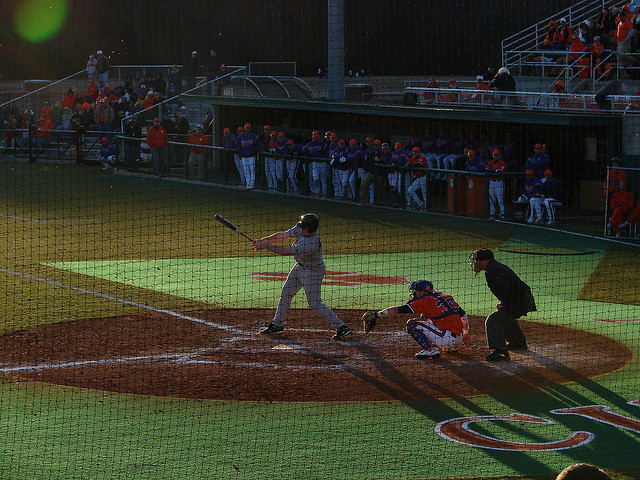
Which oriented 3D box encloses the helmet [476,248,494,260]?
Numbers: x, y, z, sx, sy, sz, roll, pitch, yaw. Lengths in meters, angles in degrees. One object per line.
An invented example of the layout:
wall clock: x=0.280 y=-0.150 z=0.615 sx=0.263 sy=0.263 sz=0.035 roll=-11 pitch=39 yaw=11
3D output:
helmet: x=2.778 y=0.245 z=20.136 sx=0.223 sy=0.187 sz=0.173 roll=-9 pitch=18 yaw=8

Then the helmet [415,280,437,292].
helmet: x=1.809 y=0.781 z=20.402 sx=0.258 sy=0.247 sz=0.185 roll=21 pitch=-11 yaw=-8

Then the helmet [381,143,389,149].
helmet: x=1.715 y=-2.457 z=31.499 sx=0.264 sy=0.144 sz=0.349 roll=1 pitch=-1 yaw=-5

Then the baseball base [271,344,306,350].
baseball base: x=-0.561 y=1.871 z=20.890 sx=0.525 sy=0.062 sz=0.223 roll=1 pitch=4 yaw=-1

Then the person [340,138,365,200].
person: x=0.965 y=-1.870 z=32.175 sx=0.655 sy=1.603 sz=0.685 roll=2 pitch=4 yaw=18

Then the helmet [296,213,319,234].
helmet: x=-0.172 y=-0.293 z=20.707 sx=0.373 sy=0.281 sz=0.257 roll=16 pitch=25 yaw=-1

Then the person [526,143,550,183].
person: x=5.411 y=-1.900 z=29.674 sx=0.509 sy=0.953 sz=0.720 roll=2 pitch=4 yaw=9

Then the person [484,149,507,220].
person: x=4.387 y=-1.369 z=29.727 sx=0.557 sy=1.733 sz=0.589 roll=1 pitch=4 yaw=-4

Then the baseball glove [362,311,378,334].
baseball glove: x=0.864 y=1.384 z=20.404 sx=0.244 sy=0.335 sz=0.349 roll=1 pitch=4 yaw=2

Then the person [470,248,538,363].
person: x=3.121 y=1.126 z=20.312 sx=1.121 sy=1.911 sz=0.592 roll=0 pitch=4 yaw=-20

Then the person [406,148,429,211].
person: x=2.492 y=-1.541 z=30.723 sx=0.547 sy=1.607 sz=0.774 roll=1 pitch=4 yaw=4

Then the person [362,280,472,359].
person: x=1.678 y=1.337 z=20.660 sx=1.981 sy=1.220 sz=1.109 roll=-3 pitch=5 yaw=-23

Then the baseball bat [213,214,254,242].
baseball bat: x=-2.055 y=-0.246 z=28.388 sx=1.029 sy=0.116 sz=0.171 roll=36 pitch=3 yaw=-19
